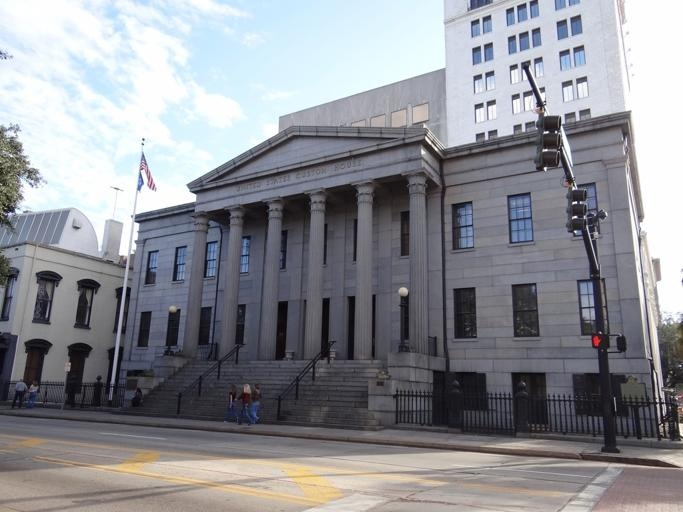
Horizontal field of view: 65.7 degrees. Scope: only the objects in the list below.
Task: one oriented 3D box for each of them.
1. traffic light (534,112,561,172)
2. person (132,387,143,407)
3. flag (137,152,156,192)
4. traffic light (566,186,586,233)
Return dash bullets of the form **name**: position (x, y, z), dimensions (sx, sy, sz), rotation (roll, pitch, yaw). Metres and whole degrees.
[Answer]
- **traffic light**: position (4.993, -2.849, 12.807), dimensions (0.683, 1.506, 0.647), rotation (-9, -18, 31)
- **person**: position (-11.568, 8.013, 30.032), dimensions (0.554, 0.957, 0.689), rotation (7, -16, -20)
- **flag**: position (-13.463, -5.678, 36.141), dimensions (1.510, 0.483, 3.600), rotation (2, -45, -15)
- **traffic light**: position (6.940, -1.423, 15.655), dimensions (0.589, 1.436, 0.875), rotation (-6, -17, 23)
